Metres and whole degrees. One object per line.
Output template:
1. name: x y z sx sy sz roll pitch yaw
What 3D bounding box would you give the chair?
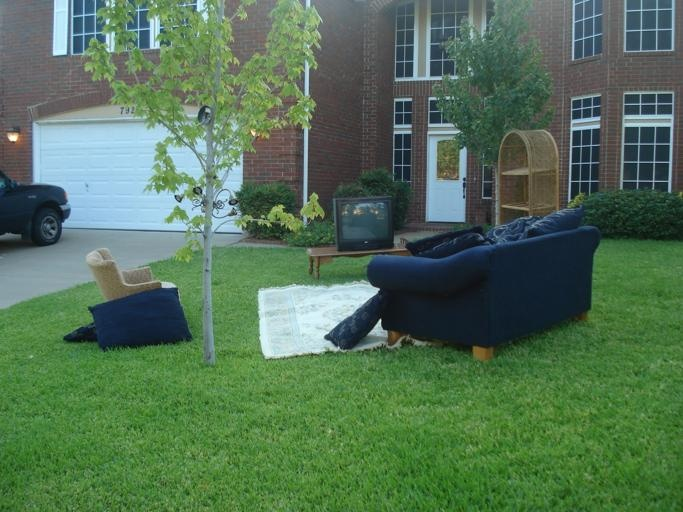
1. chair: -2.377 0.197 6.227 0.813 0.866 0.625 -17 21 -19

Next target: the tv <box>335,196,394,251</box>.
1. tv: 0.337 -0.501 8.960 0.850 0.952 0.618 1 9 -22

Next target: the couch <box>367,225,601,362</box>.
1. couch: 1.306 -0.318 5.592 2.242 1.043 1.197 -9 11 -44

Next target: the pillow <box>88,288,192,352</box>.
1. pillow: -2.111 0.669 5.755 0.973 0.509 0.400 -6 12 -25
